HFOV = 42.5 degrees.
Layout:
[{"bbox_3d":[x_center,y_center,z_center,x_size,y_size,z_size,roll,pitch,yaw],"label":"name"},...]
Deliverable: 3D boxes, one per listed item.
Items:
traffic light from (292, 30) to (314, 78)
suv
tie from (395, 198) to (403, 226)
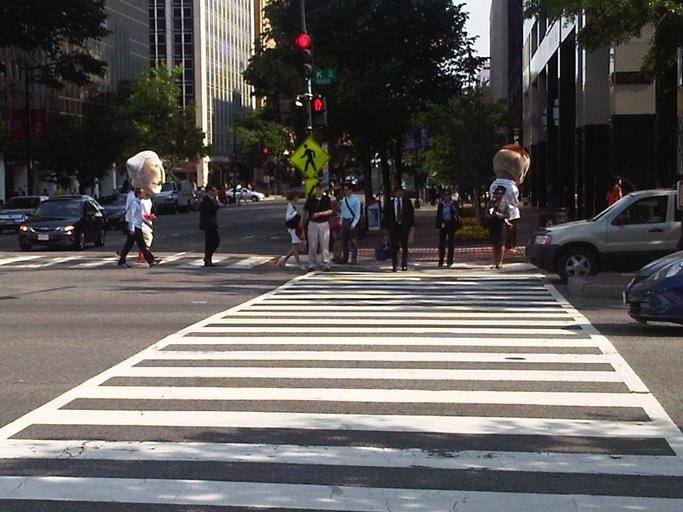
[{"bbox_3d":[-0.953,-5.113,22.407,0.395,1.138,0.814,0,8,-3],"label":"traffic light"},{"bbox_3d":[5.568,-0.496,18.542,2.462,1.414,1.515,1,1,10],"label":"suv"},{"bbox_3d":[1.422,-1.107,21.708,0.183,0.620,0.233,0,8,1],"label":"tie"}]
